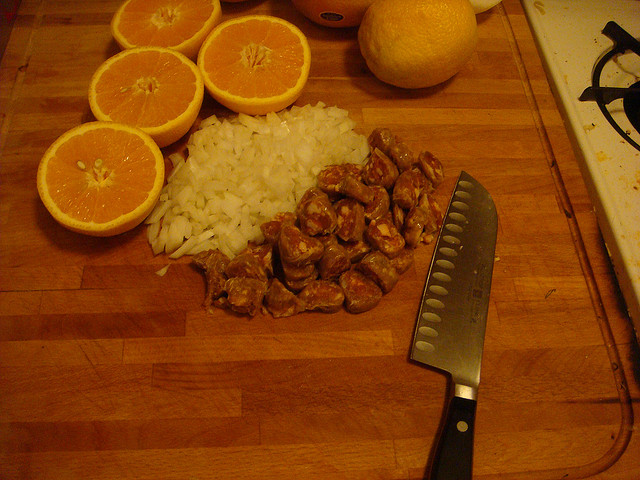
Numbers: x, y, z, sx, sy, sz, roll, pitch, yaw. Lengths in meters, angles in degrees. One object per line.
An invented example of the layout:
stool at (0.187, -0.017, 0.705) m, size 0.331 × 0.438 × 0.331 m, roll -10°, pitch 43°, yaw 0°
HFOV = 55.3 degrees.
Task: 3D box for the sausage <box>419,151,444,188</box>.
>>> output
sausage at (0.492, -0.321, 2.785) m, size 0.105 × 0.047 × 0.157 m, roll -20°, pitch 89°, yaw -52°

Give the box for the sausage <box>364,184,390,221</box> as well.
sausage at (0.230, -0.160, 2.712) m, size 0.056 × 0.177 × 0.179 m, roll 1°, pitch 86°, yaw -40°

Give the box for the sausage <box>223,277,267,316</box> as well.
sausage at (-0.316, 0.228, 2.561) m, size 0.174 × 0.100 × 0.148 m, roll 13°, pitch 79°, yaw 0°

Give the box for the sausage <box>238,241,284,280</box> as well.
sausage at (-0.238, 0.071, 2.641) m, size 0.152 × 0.061 × 0.173 m, roll -31°, pitch 81°, yaw -23°

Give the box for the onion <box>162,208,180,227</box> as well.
onion at (-0.670, -0.101, 2.730) m, size 0.065 × 0.021 × 0.071 m, roll 41°, pitch 78°, yaw 10°

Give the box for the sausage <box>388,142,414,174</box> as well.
sausage at (0.367, -0.370, 2.744) m, size 0.114 × 0.064 × 0.126 m, roll -1°, pitch 78°, yaw -18°

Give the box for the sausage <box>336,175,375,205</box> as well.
sausage at (0.155, -0.214, 2.663) m, size 0.150 × 0.065 × 0.102 m, roll 31°, pitch 85°, yaw 0°

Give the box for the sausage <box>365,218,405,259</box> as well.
sausage at (0.288, -0.031, 2.642) m, size 0.136 × 0.068 × 0.193 m, roll -29°, pitch 111°, yaw 22°

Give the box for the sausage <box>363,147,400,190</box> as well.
sausage at (0.255, -0.325, 2.714) m, size 0.185 × 0.212 × 0.058 m, roll -16°, pitch 47°, yaw 16°

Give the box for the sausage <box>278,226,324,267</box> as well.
sausage at (-0.084, 0.026, 2.550) m, size 0.204 × 0.070 × 0.173 m, roll 15°, pitch 58°, yaw -5°

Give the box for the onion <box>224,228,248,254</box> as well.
onion at (-0.373, 0.005, 2.706) m, size 0.089 × 0.031 × 0.096 m, roll -31°, pitch 83°, yaw -14°

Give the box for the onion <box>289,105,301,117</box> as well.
onion at (-0.117, -0.615, 2.914) m, size 0.042 × 0.014 × 0.048 m, roll 23°, pitch 71°, yaw 8°

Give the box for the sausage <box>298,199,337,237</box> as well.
sausage at (-0.005, -0.073, 2.606) m, size 0.151 × 0.078 × 0.206 m, roll 13°, pitch 107°, yaw 26°

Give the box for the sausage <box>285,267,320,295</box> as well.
sausage at (-0.071, 0.182, 2.642) m, size 0.115 × 0.036 × 0.124 m, roll -37°, pitch 57°, yaw 24°

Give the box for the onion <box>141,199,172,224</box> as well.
onion at (-0.733, -0.125, 2.727) m, size 0.071 × 0.034 × 0.141 m, roll 32°, pitch 80°, yaw 13°

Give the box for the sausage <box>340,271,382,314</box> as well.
sausage at (0.166, 0.217, 2.580) m, size 0.133 × 0.052 × 0.187 m, roll -21°, pitch 55°, yaw -16°

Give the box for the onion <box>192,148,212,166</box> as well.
onion at (-0.542, -0.381, 2.781) m, size 0.066 × 0.019 × 0.067 m, roll -27°, pitch 80°, yaw -14°

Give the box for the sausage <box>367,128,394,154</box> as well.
sausage at (0.279, -0.454, 2.779) m, size 0.116 × 0.115 × 0.107 m, roll -13°, pitch 26°, yaw -23°

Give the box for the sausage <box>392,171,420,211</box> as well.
sausage at (0.383, -0.219, 2.707) m, size 0.109 × 0.086 × 0.163 m, roll 15°, pitch 71°, yaw 2°

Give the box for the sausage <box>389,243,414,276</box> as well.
sausage at (0.361, 0.084, 2.647) m, size 0.105 × 0.032 × 0.103 m, roll -32°, pitch 68°, yaw -15°

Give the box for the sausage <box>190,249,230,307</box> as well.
sausage at (-0.457, 0.141, 2.545) m, size 0.156 × 0.049 × 0.232 m, roll 16°, pitch 67°, yaw -3°

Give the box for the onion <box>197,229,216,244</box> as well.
onion at (-0.511, -0.014, 2.716) m, size 0.073 × 0.018 × 0.037 m, roll -43°, pitch 76°, yaw -11°

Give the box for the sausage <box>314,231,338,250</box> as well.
sausage at (0.032, -0.003, 2.599) m, size 0.066 × 0.019 × 0.072 m, roll -1°, pitch 51°, yaw -2°

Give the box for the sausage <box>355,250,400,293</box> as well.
sausage at (0.285, 0.115, 2.621) m, size 0.161 × 0.082 × 0.229 m, roll -33°, pitch 27°, yaw -26°

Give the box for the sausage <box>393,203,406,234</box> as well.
sausage at (0.348, -0.102, 2.685) m, size 0.023 × 0.077 × 0.106 m, roll -1°, pitch 92°, yaw 19°

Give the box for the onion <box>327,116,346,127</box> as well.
onion at (0.078, -0.563, 2.898) m, size 0.051 × 0.016 × 0.054 m, roll -25°, pitch 52°, yaw -7°

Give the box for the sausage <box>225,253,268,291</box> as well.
sausage at (-0.298, 0.133, 2.558) m, size 0.147 × 0.055 × 0.148 m, roll 44°, pitch 70°, yaw -5°

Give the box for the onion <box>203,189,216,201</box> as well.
onion at (-0.497, -0.205, 2.750) m, size 0.040 × 0.012 × 0.044 m, roll -22°, pitch 97°, yaw -14°

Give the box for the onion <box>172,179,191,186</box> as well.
onion at (-0.626, -0.263, 2.772) m, size 0.041 × 0.013 × 0.045 m, roll 8°, pitch 44°, yaw 12°

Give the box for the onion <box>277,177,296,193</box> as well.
onion at (-0.155, -0.254, 2.787) m, size 0.066 × 0.018 × 0.071 m, roll -15°, pitch 83°, yaw -17°

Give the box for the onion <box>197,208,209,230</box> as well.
onion at (-0.527, -0.094, 2.730) m, size 0.041 × 0.020 × 0.087 m, roll -15°, pitch 84°, yaw -2°

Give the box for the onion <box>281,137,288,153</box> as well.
onion at (-0.169, -0.440, 2.820) m, size 0.051 × 0.014 × 0.052 m, roll 5°, pitch 66°, yaw 2°

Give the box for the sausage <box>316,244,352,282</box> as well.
sausage at (0.057, 0.094, 2.654) m, size 0.135 × 0.150 × 0.144 m, roll 7°, pitch 25°, yaw -5°

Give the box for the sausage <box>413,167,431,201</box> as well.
sausage at (0.467, -0.256, 2.737) m, size 0.031 × 0.108 × 0.114 m, roll -3°, pitch 74°, yaw 29°
